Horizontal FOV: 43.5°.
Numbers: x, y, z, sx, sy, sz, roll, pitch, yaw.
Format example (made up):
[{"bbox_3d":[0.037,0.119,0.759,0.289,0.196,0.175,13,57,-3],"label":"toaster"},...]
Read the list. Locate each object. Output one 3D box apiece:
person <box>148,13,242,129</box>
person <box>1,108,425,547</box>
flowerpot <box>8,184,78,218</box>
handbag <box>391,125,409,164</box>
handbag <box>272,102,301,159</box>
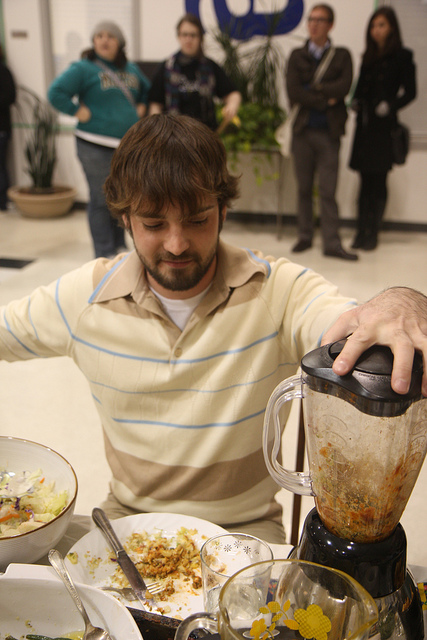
[{"bbox_3d":[-0.165,-1.617,3.776,0.675,0.988,0.550,-2,16,-2],"label":"person"},{"bbox_3d":[-0.070,0.012,1.017,0.654,0.754,0.261,5,16,16],"label":"person"},{"bbox_3d":[-1.764,-1.219,5.553,0.468,0.174,0.473,1,30,-1],"label":"flowerpot"},{"bbox_3d":[1.471,-1.385,4.227,0.179,0.261,0.101,0,15,8],"label":"handbag"},{"bbox_3d":[0.633,-1.643,4.739,0.173,0.582,0.228,2,2,-9],"label":"handbag"}]
